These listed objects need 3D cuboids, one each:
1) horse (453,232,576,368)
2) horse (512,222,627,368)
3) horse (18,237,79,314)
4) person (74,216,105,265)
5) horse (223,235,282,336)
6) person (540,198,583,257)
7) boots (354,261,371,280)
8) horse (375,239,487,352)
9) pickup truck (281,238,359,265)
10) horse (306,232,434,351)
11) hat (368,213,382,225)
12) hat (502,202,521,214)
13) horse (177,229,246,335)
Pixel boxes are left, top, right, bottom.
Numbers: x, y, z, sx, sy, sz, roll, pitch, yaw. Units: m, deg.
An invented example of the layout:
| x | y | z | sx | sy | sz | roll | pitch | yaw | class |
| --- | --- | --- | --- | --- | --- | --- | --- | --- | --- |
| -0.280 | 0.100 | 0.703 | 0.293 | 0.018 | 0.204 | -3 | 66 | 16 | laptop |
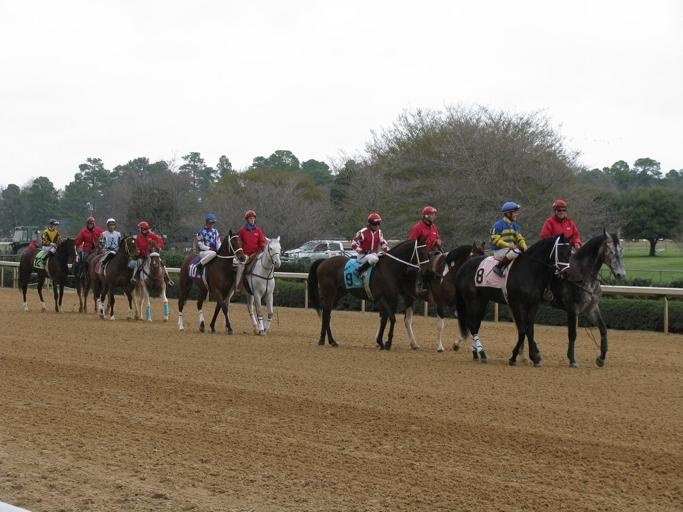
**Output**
| x | y | z | sx | sy | sz | roll | pitch | yaw | class |
| --- | --- | --- | --- | --- | --- | --- | --- | --- | --- |
| 2.624 | 0.704 | 10.471 | 0.717 | 1.958 | 2.401 | 0 | -3 | -36 | horse |
| 3.537 | 0.713 | 10.461 | 0.619 | 1.985 | 2.538 | 4 | -6 | -13 | horse |
| -7.773 | 0.522 | 18.072 | 2.669 | 2.092 | 0.658 | 1 | 1 | 34 | horse |
| -6.415 | -0.172 | 17.328 | 0.760 | 1.612 | 0.464 | -1 | -16 | -19 | person |
| -1.692 | 0.704 | 13.832 | 0.544 | 1.823 | 2.409 | 1 | -9 | -23 | horse |
| 3.528 | -0.315 | 10.871 | 0.633 | 1.184 | 0.586 | -2 | -6 | 1 | person |
| 0.350 | 0.245 | 11.786 | 0.144 | 0.353 | 0.443 | -2 | 4 | -42 | boots |
| 1.691 | 0.738 | 11.905 | 0.599 | 1.817 | 2.308 | 7 | -5 | -39 | horse |
| -1.010 | -0.270 | 30.841 | 2.577 | 1.222 | 1.308 | 0 | 0 | -24 | pickup truck |
| 0.482 | 0.663 | 12.046 | 2.614 | 2.040 | 0.728 | 0 | 0 | 33 | horse |
| 0.590 | -0.653 | 12.074 | 0.189 | 0.192 | 0.454 | 0 | 3 | -2 | hat |
| 2.634 | -0.759 | 10.353 | 0.311 | 0.178 | 0.237 | -8 | 10 | -5 | hat |
| -2.696 | 0.587 | 14.022 | 0.701 | 2.079 | 2.551 | 5 | -7 | -39 | horse |
